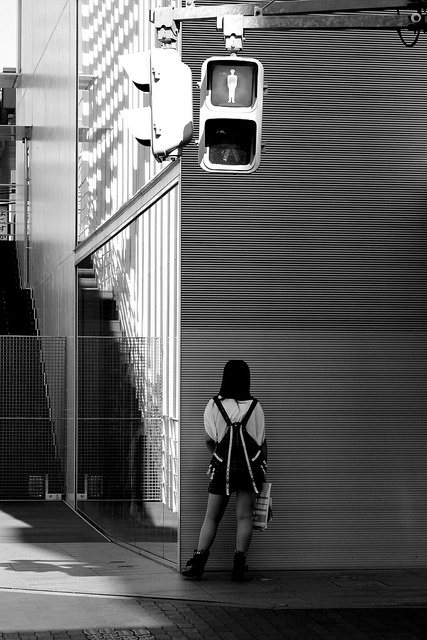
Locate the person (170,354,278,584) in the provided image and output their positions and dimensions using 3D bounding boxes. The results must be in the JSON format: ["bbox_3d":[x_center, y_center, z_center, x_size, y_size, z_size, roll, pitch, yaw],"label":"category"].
[{"bbox_3d":[0.105,1.035,7.186,0.516,1.522,0.431,4,-29,0],"label":"person"}]

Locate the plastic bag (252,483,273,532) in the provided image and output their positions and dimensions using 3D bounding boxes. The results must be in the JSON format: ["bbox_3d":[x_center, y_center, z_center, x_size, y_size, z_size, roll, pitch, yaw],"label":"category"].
[{"bbox_3d":[0.308,1.204,7.136,0.114,0.333,0.286,4,-17,-3],"label":"plastic bag"}]

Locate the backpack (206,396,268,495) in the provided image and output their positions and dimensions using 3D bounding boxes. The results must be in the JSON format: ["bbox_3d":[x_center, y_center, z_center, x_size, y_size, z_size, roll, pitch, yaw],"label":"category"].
[{"bbox_3d":[0.202,0.764,7.120,0.309,0.594,0.251,2,7,32],"label":"backpack"}]

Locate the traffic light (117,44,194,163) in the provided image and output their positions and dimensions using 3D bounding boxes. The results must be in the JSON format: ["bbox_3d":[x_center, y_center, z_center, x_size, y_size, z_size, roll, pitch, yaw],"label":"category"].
[{"bbox_3d":[-0.251,-0.904,4.780,0.307,0.619,0.138,-7,-28,5],"label":"traffic light"}]

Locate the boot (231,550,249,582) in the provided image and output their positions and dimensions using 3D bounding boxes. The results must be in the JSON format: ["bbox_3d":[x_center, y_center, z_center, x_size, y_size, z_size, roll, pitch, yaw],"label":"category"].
[{"bbox_3d":[0.165,1.572,7.099,0.097,0.193,0.195,0,-4,1],"label":"boot"}]

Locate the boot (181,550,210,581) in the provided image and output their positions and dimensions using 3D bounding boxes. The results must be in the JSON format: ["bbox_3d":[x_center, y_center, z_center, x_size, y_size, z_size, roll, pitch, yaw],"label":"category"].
[{"bbox_3d":[-0.125,1.571,7.120,0.197,0.197,0.144,-1,-4,17],"label":"boot"}]

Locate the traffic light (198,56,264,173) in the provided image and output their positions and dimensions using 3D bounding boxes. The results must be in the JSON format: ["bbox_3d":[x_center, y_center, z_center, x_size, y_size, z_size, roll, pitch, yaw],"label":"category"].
[{"bbox_3d":[0.072,-0.895,4.716,0.239,0.530,0.167,2,29,-2],"label":"traffic light"}]
